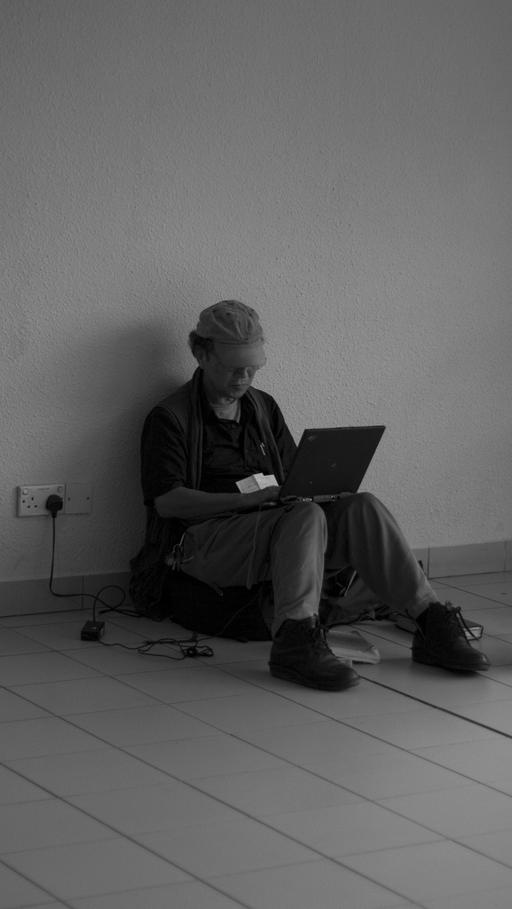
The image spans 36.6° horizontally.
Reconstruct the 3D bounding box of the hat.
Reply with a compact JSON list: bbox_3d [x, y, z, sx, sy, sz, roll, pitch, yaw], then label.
[{"bbox_3d":[-0.071,-0.368,2.356,0.171,0.113,0.217,-4,33,-21],"label":"hat"}]

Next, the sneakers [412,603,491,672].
[{"bbox_3d":[0.520,0.490,2.068,0.145,0.177,0.180,2,0,-14],"label":"sneakers"}]

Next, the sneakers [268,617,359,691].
[{"bbox_3d":[0.125,0.493,1.923,0.105,0.153,0.270,1,-1,-45],"label":"sneakers"}]

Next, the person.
[{"bbox_3d":[0.345,0.128,2.449,0.656,1.114,1.388,-3,3,-41],"label":"person"}]

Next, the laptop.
[{"bbox_3d":[0.173,0.021,2.190,0.299,0.208,0.222,-7,34,-44],"label":"laptop"}]

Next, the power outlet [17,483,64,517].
[{"bbox_3d":[-0.688,0.149,2.462,0.150,0.078,0.028,2,1,-35],"label":"power outlet"}]

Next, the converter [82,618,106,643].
[{"bbox_3d":[-0.473,0.507,2.230,0.037,0.017,0.073,1,12,1],"label":"converter"}]
